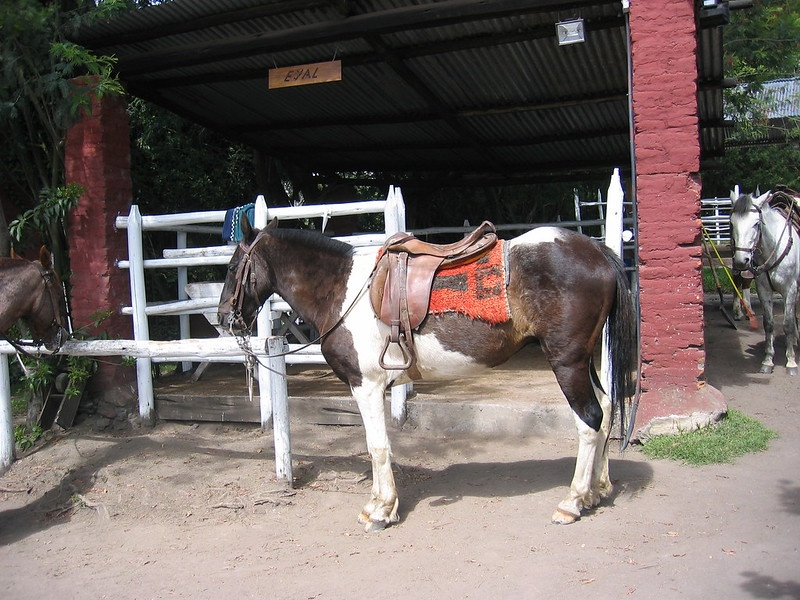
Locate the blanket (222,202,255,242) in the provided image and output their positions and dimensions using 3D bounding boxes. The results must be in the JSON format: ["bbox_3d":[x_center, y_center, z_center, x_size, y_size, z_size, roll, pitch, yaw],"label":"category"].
[{"bbox_3d":[-1.622,-0.877,6.893,0.408,0.464,0.173,0,-11,32],"label":"blanket"}]

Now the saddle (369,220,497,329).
[{"bbox_3d":[0.340,-0.269,5.440,1.139,0.906,0.736,1,10,19],"label":"saddle"}]
